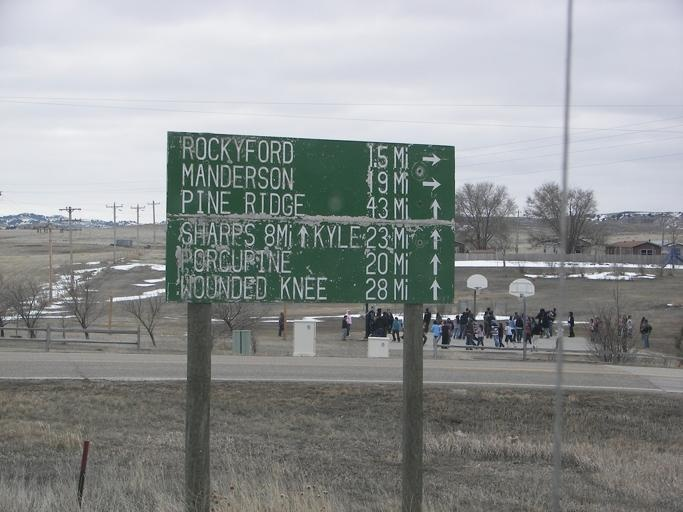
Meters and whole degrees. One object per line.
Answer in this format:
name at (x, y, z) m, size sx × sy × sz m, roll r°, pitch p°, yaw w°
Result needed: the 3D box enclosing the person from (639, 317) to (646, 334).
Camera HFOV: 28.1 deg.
person at (15.851, 3.596, 71.932) m, size 0.247 × 0.776 × 1.280 m, roll -1°, pitch 0°, yaw 10°
